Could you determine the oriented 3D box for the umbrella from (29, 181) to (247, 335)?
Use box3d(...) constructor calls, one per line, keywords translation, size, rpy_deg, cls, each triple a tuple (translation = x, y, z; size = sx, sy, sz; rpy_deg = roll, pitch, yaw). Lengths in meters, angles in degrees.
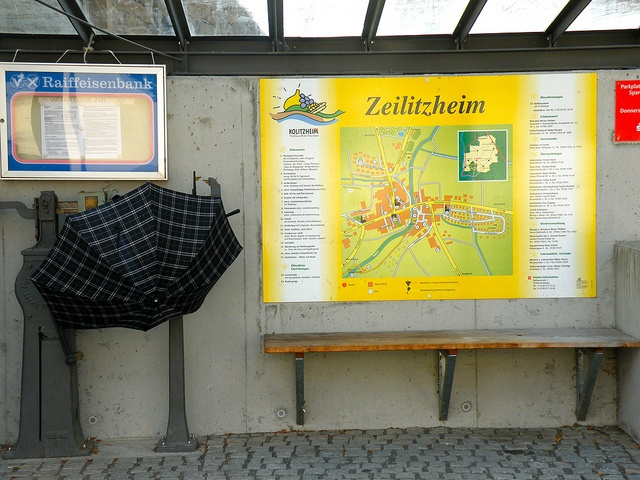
box3d(translation=(-1.592, 0.142, 6.174), size=(1.603, 1.271, 0.429), rpy_deg=(0, 1, 1), cls="umbrella")
